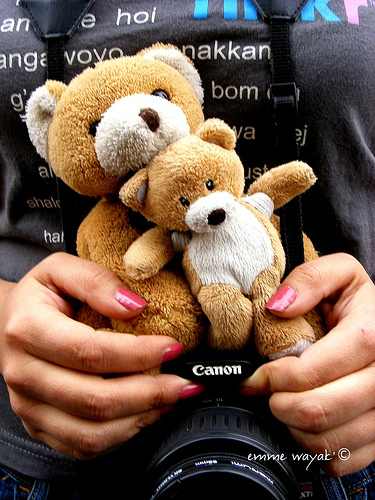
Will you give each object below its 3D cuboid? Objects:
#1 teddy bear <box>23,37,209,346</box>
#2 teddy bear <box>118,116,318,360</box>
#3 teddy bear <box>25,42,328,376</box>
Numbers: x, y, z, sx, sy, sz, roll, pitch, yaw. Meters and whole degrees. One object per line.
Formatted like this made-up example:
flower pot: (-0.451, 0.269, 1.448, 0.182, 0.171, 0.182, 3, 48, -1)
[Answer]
teddy bear: (-0.045, -0.054, 0.559, 0.218, 0.342, 0.177, -14, 14, -17)
teddy bear: (0.041, -0.007, 0.530, 0.228, 0.258, 0.138, -21, 29, -8)
teddy bear: (-0.039, -0.059, 0.564, 0.273, 0.328, 0.247, -24, 23, -37)
